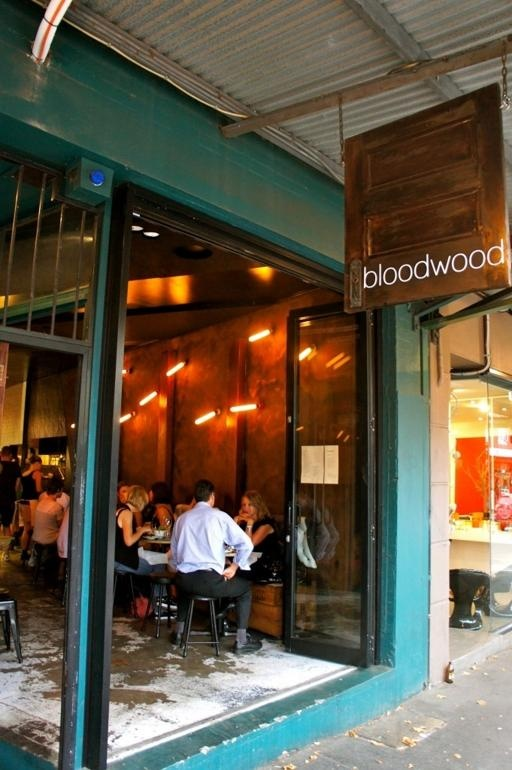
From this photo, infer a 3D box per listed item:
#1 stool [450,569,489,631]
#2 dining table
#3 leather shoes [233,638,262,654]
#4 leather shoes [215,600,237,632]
[{"bbox_3d":[2.461,2.358,6.575,0.460,0.520,0.451,7,-9,-31],"label":"stool"},{"bbox_3d":[-0.432,1.562,5.139,0.821,1.431,0.686,-4,-9,32],"label":"dining table"},{"bbox_3d":[-0.068,2.231,5.082,0.257,0.127,0.113,4,-4,-44],"label":"leather shoes"},{"bbox_3d":[-0.288,2.255,5.763,0.159,0.215,0.491,1,-41,0],"label":"leather shoes"}]
